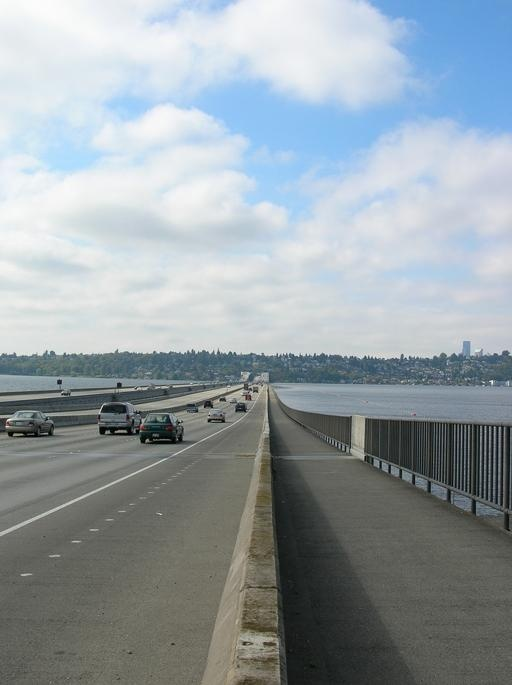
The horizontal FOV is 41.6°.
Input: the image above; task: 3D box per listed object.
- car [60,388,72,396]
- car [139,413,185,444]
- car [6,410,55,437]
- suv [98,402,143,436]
[{"bbox_3d":[-27.629,7.298,98.604,1.258,0.809,2.175,1,-5,-11],"label":"car"},{"bbox_3d":[-4.471,4.062,31.934,1.710,1.448,2.849,-1,-2,1],"label":"car"},{"bbox_3d":[-11.982,4.349,36.562,1.262,0.967,2.872,1,-3,-4],"label":"car"},{"bbox_3d":[-8.007,4.491,39.710,1.852,1.925,3.937,-1,-2,-2],"label":"suv"}]
